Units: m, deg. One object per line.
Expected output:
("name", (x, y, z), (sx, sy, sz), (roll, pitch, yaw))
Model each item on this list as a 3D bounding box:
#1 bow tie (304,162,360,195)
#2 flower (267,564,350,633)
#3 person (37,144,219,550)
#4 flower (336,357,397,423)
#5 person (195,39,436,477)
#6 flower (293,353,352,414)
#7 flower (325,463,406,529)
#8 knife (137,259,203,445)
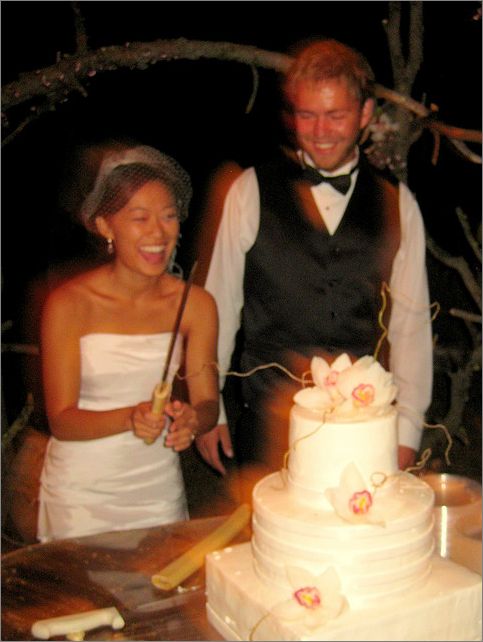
("bow tie", (0.340, -0.563, 2.739), (0.187, 0.128, 0.060), (-5, 18, 3))
("flower", (0.134, 0.544, 1.348), (0.157, 0.109, 0.124), (-1, 2, 1))
("person", (-0.391, 0.152, 2.688), (0.708, 1.507, 0.708), (-4, 8, -34))
("flower", (0.266, 0.148, 1.472), (0.133, 0.125, 0.059), (-5, -18, 2))
("person", (0.294, -0.244, 2.887), (0.805, 1.933, 0.636), (-2, 5, -5))
("flower", (0.187, 0.135, 1.528), (0.101, 0.128, 0.098), (-4, 10, -28))
("flower", (0.247, 0.360, 1.404), (0.144, 0.051, 0.121), (-19, 55, -26))
("knife", (-0.199, 0.116, 2.211), (0.245, 0.613, 0.232), (-5, 14, -28))
